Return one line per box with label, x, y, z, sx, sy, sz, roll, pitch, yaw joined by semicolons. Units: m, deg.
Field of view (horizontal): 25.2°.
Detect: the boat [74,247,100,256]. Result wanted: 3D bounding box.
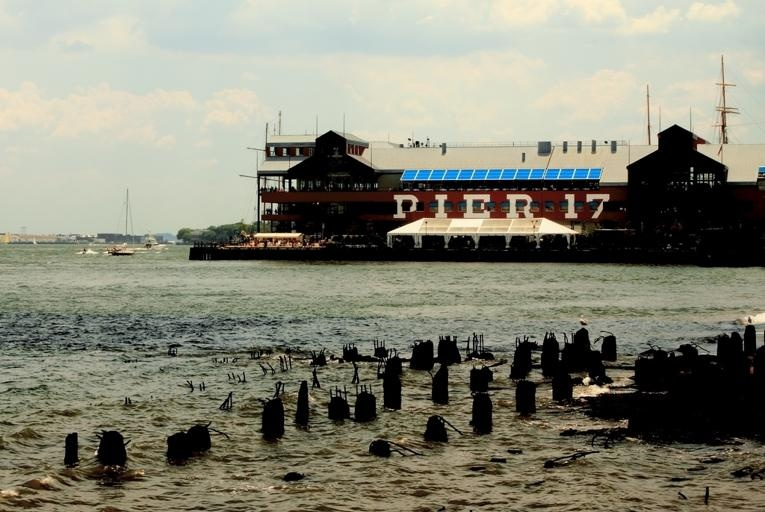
boat;-57.515;-0.190;330.766;6.558;1.501;5.832;0;-2;-5
